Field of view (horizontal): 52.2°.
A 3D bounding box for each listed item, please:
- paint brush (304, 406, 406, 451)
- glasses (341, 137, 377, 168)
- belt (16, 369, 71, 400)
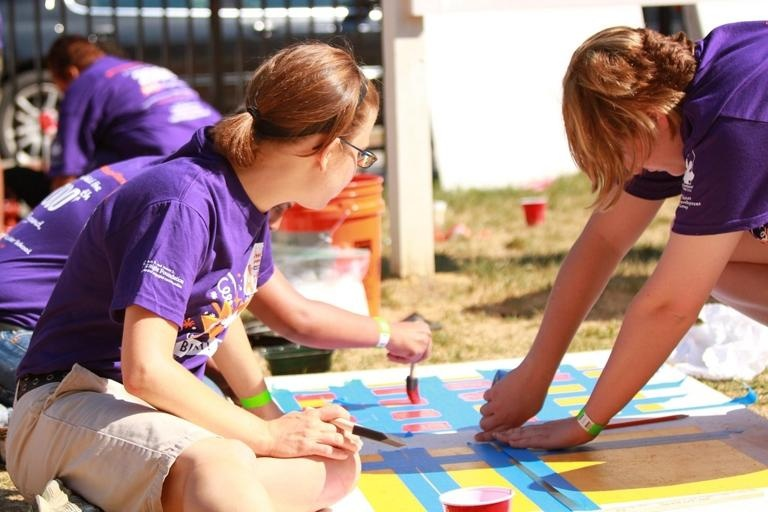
[{"bbox_3d":[-0.004,0.581,2.480,0.083,0.082,0.612,11,-11,42],"label":"paint brush"},{"bbox_3d":[-0.075,-0.292,2.259,0.075,0.023,0.074,42,2,7],"label":"glasses"},{"bbox_3d":[-0.997,0.374,2.295,0.129,0.047,0.104,-14,-11,10],"label":"belt"}]
